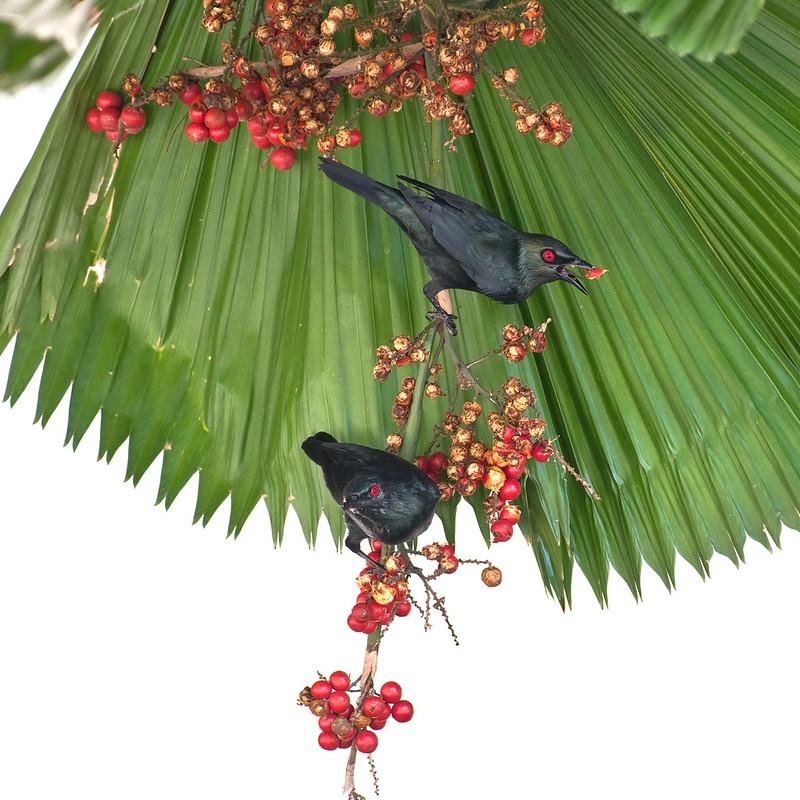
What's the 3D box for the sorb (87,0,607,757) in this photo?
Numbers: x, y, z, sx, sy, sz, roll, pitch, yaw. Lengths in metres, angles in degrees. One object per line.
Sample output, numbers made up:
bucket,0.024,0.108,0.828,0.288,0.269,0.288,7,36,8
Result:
sorb,-0.008,-0.058,1.738,0.670,0.246,1.164,2,-93,-5
